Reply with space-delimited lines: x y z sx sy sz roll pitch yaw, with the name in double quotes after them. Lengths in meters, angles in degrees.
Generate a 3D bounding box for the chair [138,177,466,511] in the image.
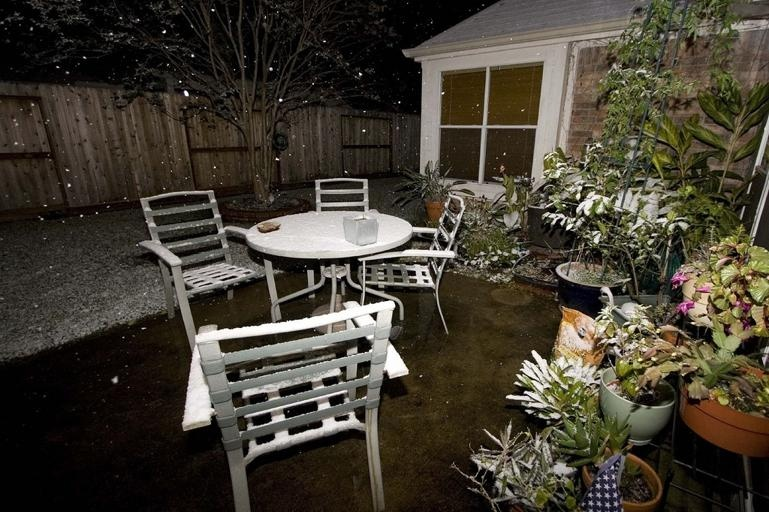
-0.471 0.831 3.726 1.797 1.700 1.977 0 17 5 "chair"

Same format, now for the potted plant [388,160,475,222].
0.689 -1.098 7.475 1.232 0.835 1.190 -1 12 -5 "potted plant"
